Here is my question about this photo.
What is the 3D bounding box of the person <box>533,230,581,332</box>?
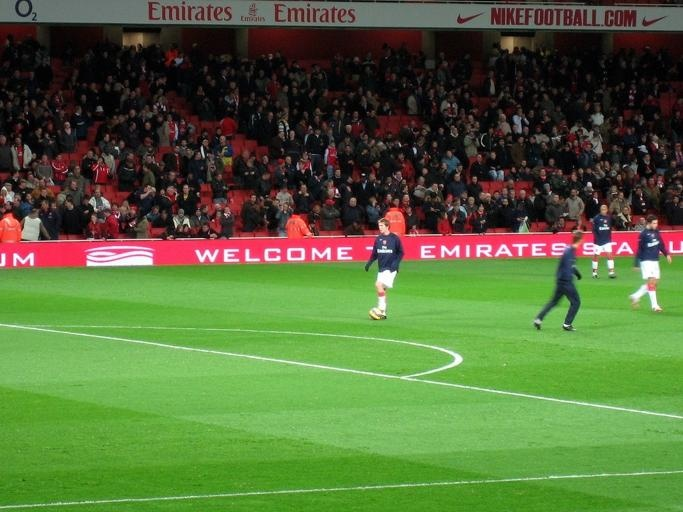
[{"bbox_3d":[4.801,0.539,28.252,0.828,2.201,1.472,2,9,11],"label":"person"}]

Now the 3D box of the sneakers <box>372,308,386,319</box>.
[{"bbox_3d":[0.848,1.334,29.425,0.147,0.179,0.353,6,1,39],"label":"sneakers"}]
